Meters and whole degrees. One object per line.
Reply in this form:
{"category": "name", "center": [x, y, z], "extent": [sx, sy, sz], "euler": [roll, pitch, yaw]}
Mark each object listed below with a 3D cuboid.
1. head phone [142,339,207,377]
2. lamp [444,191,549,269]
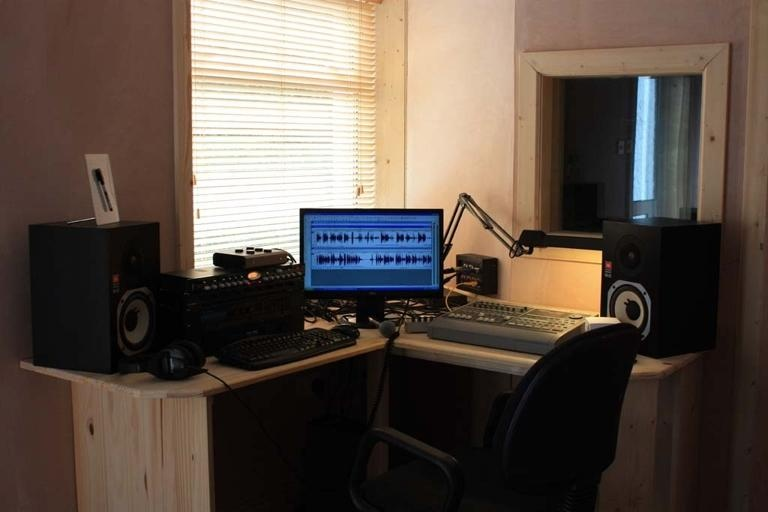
{"category": "head phone", "center": [-0.807, 0.394, 2.422], "extent": [0.163, 0.064, 0.141], "euler": [-2, 16, 17]}
{"category": "lamp", "center": [0.592, -0.152, 3.419], "extent": [0.532, 0.369, 0.398], "euler": [0, 7, 6]}
